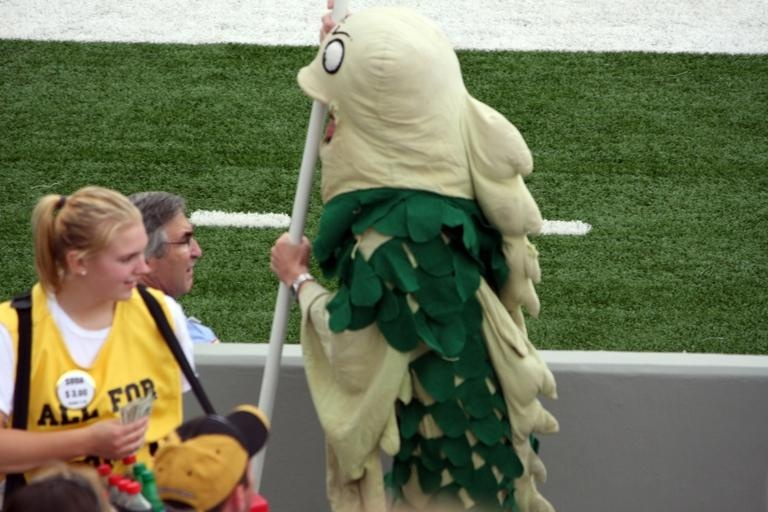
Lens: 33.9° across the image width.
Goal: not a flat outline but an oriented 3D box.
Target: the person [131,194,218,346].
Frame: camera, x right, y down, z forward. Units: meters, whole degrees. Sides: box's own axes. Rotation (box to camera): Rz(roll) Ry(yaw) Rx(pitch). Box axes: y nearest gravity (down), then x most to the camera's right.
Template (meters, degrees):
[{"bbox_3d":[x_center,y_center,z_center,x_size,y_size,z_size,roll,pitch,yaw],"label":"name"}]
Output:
[{"bbox_3d":[-1.397,0.136,8.362,0.543,0.919,0.860,-13,19,-11],"label":"person"}]
